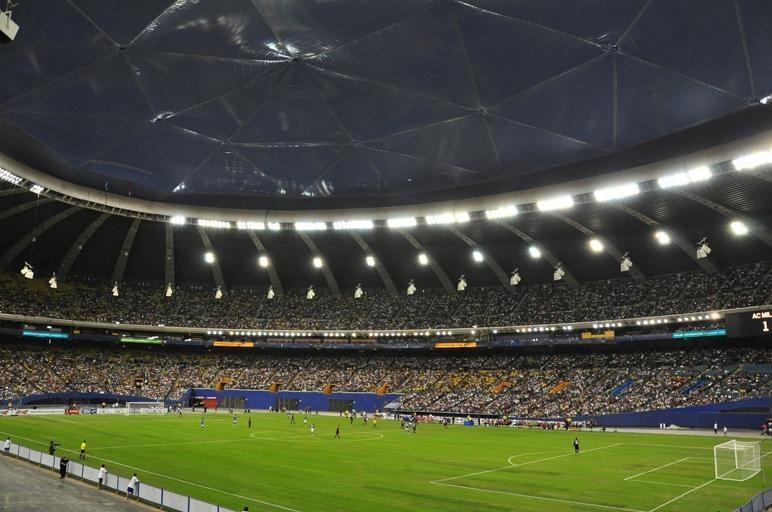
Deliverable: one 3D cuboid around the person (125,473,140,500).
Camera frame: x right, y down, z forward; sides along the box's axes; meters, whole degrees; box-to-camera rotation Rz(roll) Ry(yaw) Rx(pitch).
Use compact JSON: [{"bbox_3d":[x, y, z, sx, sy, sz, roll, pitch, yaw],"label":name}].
[{"bbox_3d":[-13.981,12.808,34.331,0.650,1.327,1.146,17,-35,-14],"label":"person"}]
